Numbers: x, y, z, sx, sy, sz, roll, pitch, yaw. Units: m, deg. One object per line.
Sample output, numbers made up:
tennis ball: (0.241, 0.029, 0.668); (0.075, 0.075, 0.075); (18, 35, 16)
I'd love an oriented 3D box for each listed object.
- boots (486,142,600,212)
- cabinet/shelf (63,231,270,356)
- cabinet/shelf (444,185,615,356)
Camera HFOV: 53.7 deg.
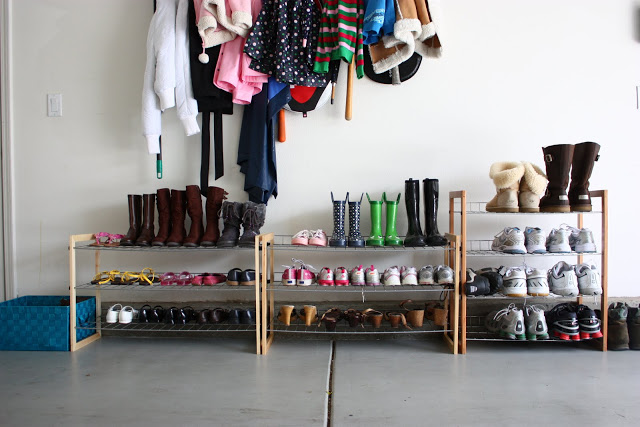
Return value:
boots: (1.538, -0.240, 4.391); (0.486, 0.387, 0.608); (1, 0, -17)
cabinet/shelf: (-0.998, 0.533, 4.469); (1.375, 0.812, 0.481); (-1, 3, 3)
cabinet/shelf: (1.487, 0.337, 4.683); (1.312, 1.486, 1.055); (1, 3, 6)
